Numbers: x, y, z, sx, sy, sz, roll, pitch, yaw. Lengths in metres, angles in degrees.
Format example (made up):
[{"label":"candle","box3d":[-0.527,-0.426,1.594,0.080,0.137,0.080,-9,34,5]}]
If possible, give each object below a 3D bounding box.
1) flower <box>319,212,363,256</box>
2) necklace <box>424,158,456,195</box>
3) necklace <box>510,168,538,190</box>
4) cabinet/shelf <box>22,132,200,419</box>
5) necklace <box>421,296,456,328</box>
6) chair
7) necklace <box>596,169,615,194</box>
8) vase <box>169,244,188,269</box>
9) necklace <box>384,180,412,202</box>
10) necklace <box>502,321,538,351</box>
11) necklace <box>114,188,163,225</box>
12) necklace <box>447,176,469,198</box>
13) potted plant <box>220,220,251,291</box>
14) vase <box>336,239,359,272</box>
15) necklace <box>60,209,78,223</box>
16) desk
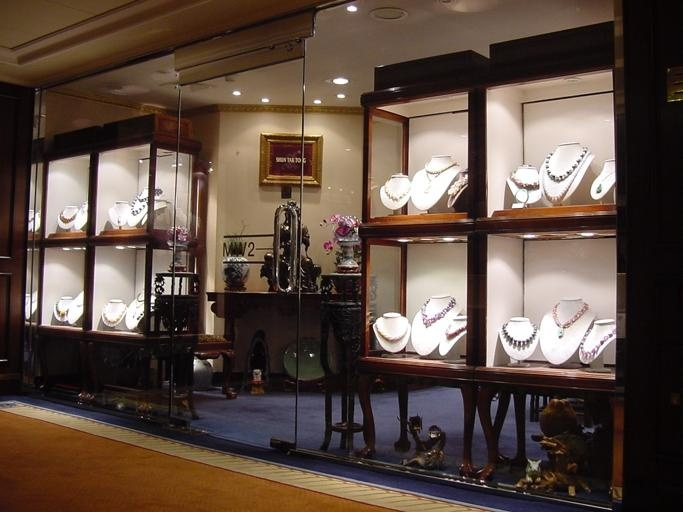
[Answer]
[{"label":"flower","box3d":[0.010,-0.121,3.091,0.200,0.216,0.081,2,5,8]},{"label":"necklace","box3d":[0.504,-0.387,2.917,0.173,0.206,0.145,-1,-5,31]},{"label":"necklace","box3d":[0.873,-0.370,2.678,0.102,0.110,0.054,-11,-10,25]},{"label":"cabinet/shelf","box3d":[-1.599,0.164,3.991,1.784,2.228,0.731,-4,-7,38]},{"label":"necklace","box3d":[0.468,0.269,2.806,0.151,0.092,0.160,-43,21,-31]},{"label":"chair","box3d":[-1.008,0.536,3.795,0.529,0.817,0.533,8,-6,-34]},{"label":"necklace","box3d":[1.149,-0.321,2.424,0.050,0.093,0.140,1,-3,3]},{"label":"vase","box3d":[-1.055,0.010,3.673,0.131,0.204,0.150,-1,-3,4]},{"label":"necklace","box3d":[0.296,-0.352,2.950,0.155,0.157,0.091,1,0,26]},{"label":"necklace","box3d":[0.827,0.354,2.665,0.191,0.193,0.114,0,-6,10]},{"label":"necklace","box3d":[-1.482,-0.330,3.946,0.442,0.259,0.021,-1,-4,40]},{"label":"necklace","box3d":[0.580,-0.341,2.787,0.024,0.056,0.092,11,-40,-34]},{"label":"potted plant","box3d":[-0.642,-0.007,3.394,0.149,0.365,0.143,16,-23,-39]},{"label":"vase","box3d":[0.032,0.009,3.085,0.152,0.188,0.154,0,-12,2]},{"label":"necklace","box3d":[-2.123,-0.313,4.384,0.104,0.106,0.058,1,0,20]},{"label":"desk","box3d":[-0.359,0.420,3.408,0.955,0.585,0.325,1,7,2]}]
